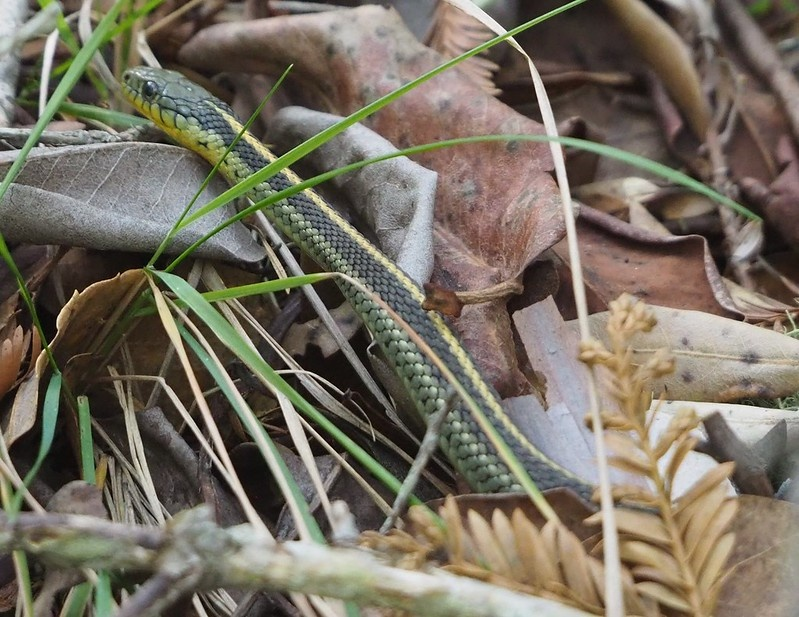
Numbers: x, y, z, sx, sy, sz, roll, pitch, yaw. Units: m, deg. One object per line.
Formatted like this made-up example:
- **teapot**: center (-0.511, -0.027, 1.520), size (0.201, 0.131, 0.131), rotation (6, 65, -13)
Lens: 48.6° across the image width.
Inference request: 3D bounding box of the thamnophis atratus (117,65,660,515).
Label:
- **thamnophis atratus**: center (-0.040, -0.023, 2.867), size (2.126, 0.229, 0.438), rotation (36, 3, 11)
